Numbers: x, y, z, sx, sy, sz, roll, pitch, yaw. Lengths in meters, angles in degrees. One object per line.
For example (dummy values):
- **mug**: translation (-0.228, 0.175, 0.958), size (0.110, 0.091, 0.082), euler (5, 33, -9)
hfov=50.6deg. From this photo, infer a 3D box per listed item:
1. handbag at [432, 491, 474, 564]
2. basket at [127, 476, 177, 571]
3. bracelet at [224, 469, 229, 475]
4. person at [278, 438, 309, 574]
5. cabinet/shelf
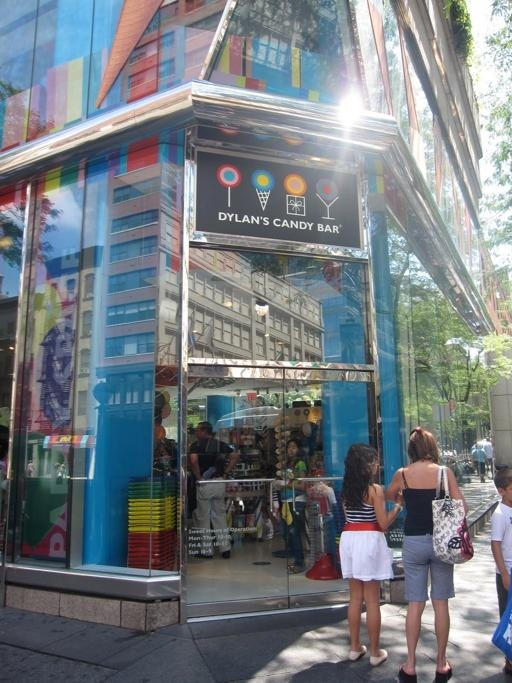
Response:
- **handbag**: translation (1.212, 1.155, 3.383), size (0.230, 0.424, 0.133), euler (-13, -21, 32)
- **basket**: translation (-1.037, 1.767, 5.332), size (0.602, 0.859, 0.155), euler (-10, -15, 33)
- **bracelet**: translation (-0.302, 1.349, 5.605), size (0.042, 0.044, 0.039), euler (-4, -9, 31)
- **person**: translation (0.396, 1.733, 5.756), size (0.145, 1.325, 0.335), euler (-13, -17, 42)
- **cabinet/shelf**: translation (-0.215, 1.521, 5.883), size (0.634, 1.048, 0.615), euler (0, -12, -8)
